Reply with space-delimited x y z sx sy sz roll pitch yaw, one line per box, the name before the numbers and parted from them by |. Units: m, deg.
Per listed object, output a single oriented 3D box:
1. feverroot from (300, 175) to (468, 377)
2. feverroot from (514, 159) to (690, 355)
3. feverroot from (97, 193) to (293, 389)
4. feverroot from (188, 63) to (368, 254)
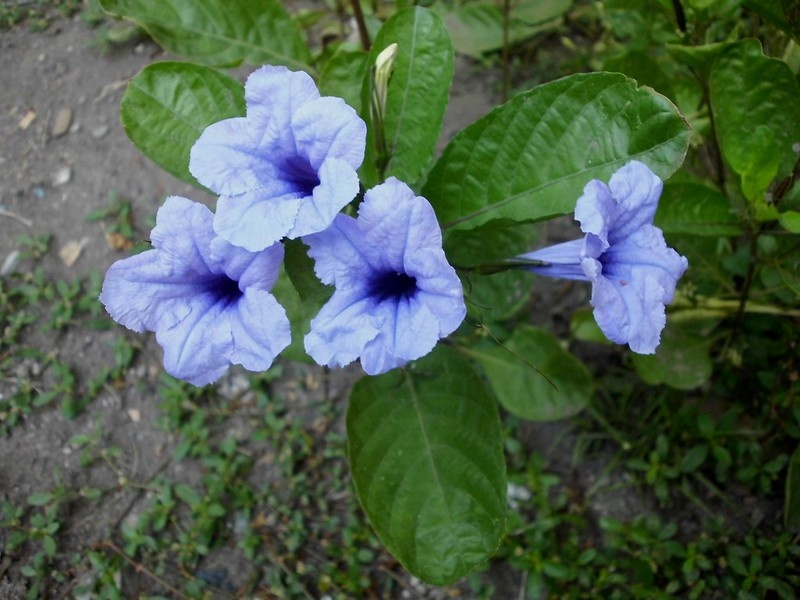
feverroot | -0.028 -0.047 2.326 0.510 0.223 0.593 27 101 13
feverroot | 0.606 -0.179 2.388 0.513 0.379 0.638 -37 35 -24
feverroot | -0.627 -0.044 2.293 0.185 0.612 0.604 -2 87 46
feverroot | -0.325 -0.434 2.327 0.259 0.536 0.538 24 94 16
